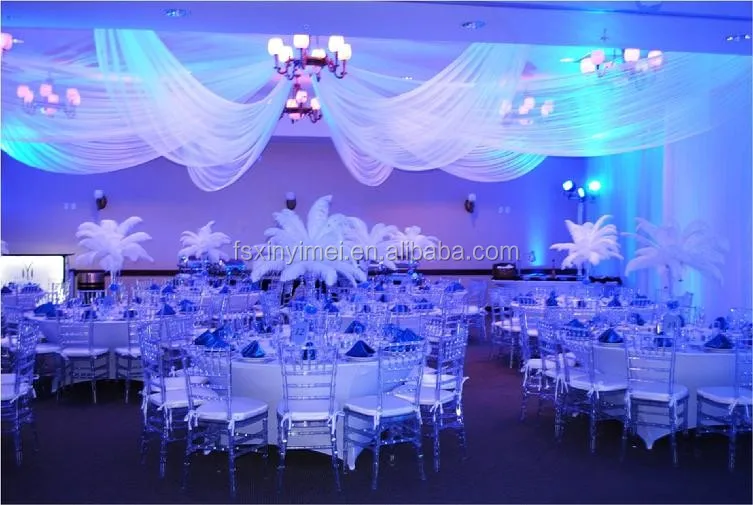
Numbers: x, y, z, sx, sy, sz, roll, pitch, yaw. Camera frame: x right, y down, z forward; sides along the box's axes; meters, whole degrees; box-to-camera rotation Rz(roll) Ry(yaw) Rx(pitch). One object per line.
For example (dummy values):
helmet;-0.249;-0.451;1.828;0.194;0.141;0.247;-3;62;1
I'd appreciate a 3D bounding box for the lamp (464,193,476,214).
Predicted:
lamp;2.651;-1.422;16.911;0.318;0.548;0.187;2;12;7

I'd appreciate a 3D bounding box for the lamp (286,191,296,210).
lamp;-2.383;-1.474;16.616;0.295;0.491;0.368;-2;12;-9

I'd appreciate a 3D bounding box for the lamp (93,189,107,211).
lamp;-7.595;-1.477;16.280;0.291;0.515;0.368;4;28;-1

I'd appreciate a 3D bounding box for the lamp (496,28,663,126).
lamp;2.864;-2.440;8.308;2.617;1.217;1.899;-3;10;24

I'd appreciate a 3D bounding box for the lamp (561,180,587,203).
lamp;5.504;-1.711;16.474;0.644;0.636;1.359;4;12;18
